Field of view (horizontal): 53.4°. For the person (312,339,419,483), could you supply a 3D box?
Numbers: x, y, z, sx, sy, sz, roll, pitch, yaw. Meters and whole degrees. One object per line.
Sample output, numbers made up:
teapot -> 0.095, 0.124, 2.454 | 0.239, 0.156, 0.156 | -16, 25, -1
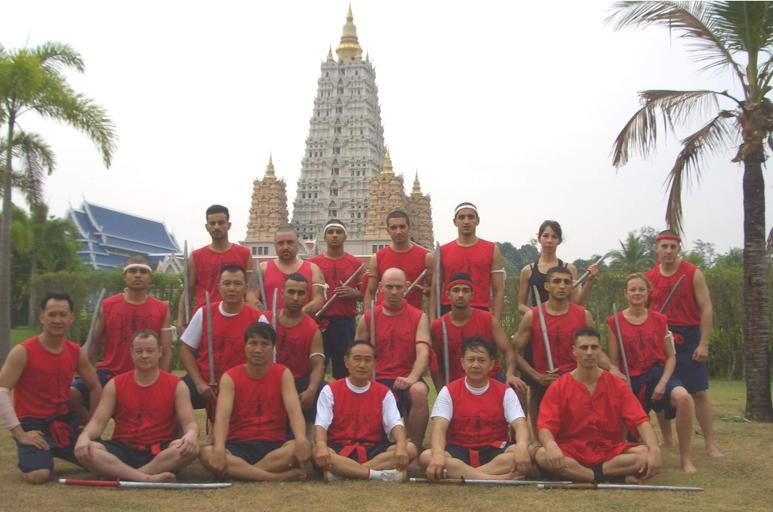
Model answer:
person -> -0.314, 2.023, 10.130 | 1.252, 1.786, 0.417 | 0, -4, 0

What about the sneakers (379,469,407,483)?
sneakers -> 0.091, 2.848, 9.985 | 0.364, 0.151, 0.134 | 4, -45, 0
